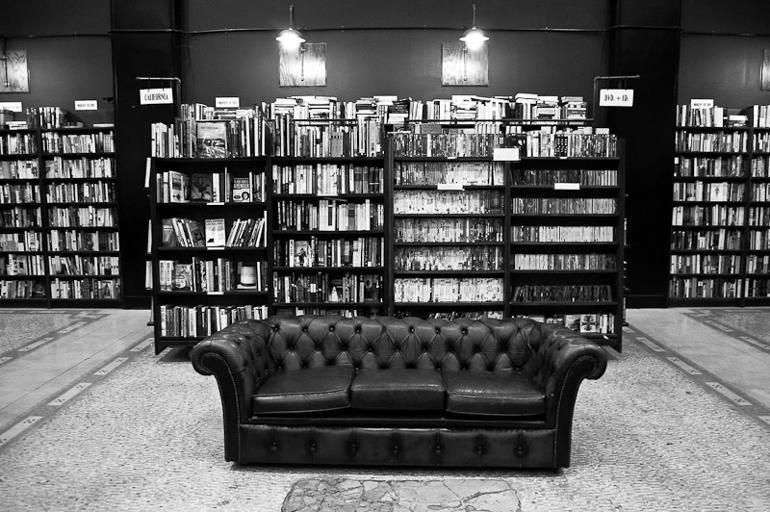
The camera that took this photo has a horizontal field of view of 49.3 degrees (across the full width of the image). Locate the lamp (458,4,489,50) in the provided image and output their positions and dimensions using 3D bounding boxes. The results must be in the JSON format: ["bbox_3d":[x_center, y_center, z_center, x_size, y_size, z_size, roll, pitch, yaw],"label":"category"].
[{"bbox_3d":[1.399,-3.677,13.263,0.477,0.763,1.092,-1,10,5],"label":"lamp"}]
